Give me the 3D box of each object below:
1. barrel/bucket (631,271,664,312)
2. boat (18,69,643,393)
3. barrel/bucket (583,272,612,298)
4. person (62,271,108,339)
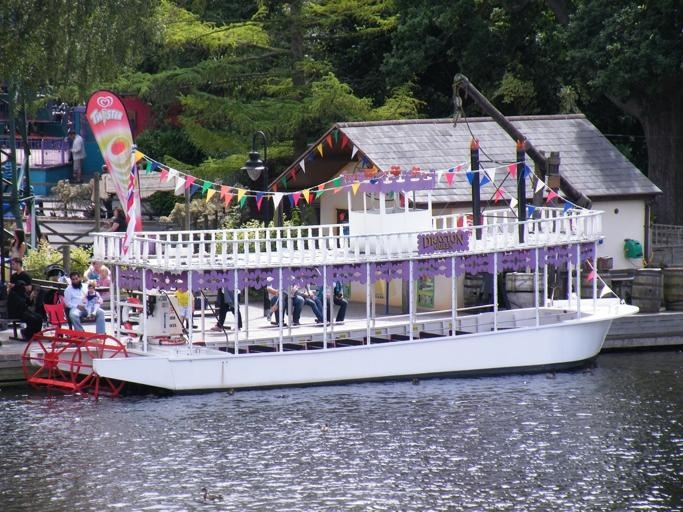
[{"bbox_3d":[8.819,0.969,51.858,1.012,1.531,1.007,1,1,0],"label":"barrel/bucket"},{"bbox_3d":[-0.013,-0.851,48.540,14.568,8.428,4.812,-1,1,-19],"label":"boat"},{"bbox_3d":[7.370,0.884,52.167,0.755,0.812,0.799,-1,0,0],"label":"barrel/bucket"},{"bbox_3d":[-6.744,1.223,47.267,1.016,1.080,0.992,-1,1,-12],"label":"person"}]
